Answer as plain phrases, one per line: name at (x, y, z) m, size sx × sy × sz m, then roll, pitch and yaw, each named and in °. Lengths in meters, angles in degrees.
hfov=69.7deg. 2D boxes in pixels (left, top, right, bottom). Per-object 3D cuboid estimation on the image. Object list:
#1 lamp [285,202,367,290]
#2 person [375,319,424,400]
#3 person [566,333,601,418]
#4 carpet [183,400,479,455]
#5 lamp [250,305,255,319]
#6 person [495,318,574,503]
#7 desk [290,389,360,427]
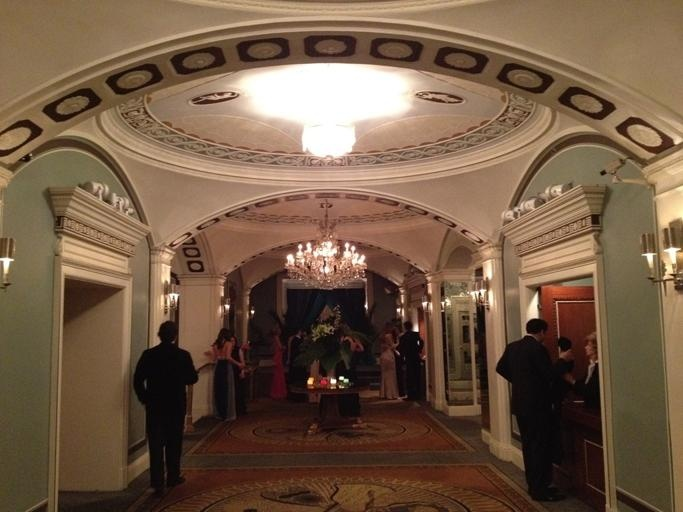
lamp at (-0.309, -0.270, 10.684) m, size 1.799 × 1.808 × 1.748 m, roll 5°, pitch -9°, yaw -35°
person at (1.710, 2.809, 13.102) m, size 1.097 × 2.016 × 1.562 m, roll 4°, pitch -11°, yaw -22°
person at (2.688, 1.278, 5.405) m, size 0.342 × 0.849 × 0.827 m, roll -3°, pitch -10°, yaw 15°
carpet at (-0.164, 3.232, 9.296) m, size 4.542 × 0.227 × 3.536 m, roll 0°, pitch -9°, yaw -1°
lamp at (-3.309, 2.086, 18.360) m, size 0.204 × 0.457 × 0.873 m, roll 2°, pitch -10°, yaw -10°
person at (2.157, 1.743, 5.586) m, size 0.645 × 2.034 × 0.654 m, roll -2°, pitch -10°, yaw 8°
desk at (-0.264, 3.037, 9.995) m, size 1.633 × 0.705 × 1.558 m, roll -2°, pitch -11°, yaw 13°
